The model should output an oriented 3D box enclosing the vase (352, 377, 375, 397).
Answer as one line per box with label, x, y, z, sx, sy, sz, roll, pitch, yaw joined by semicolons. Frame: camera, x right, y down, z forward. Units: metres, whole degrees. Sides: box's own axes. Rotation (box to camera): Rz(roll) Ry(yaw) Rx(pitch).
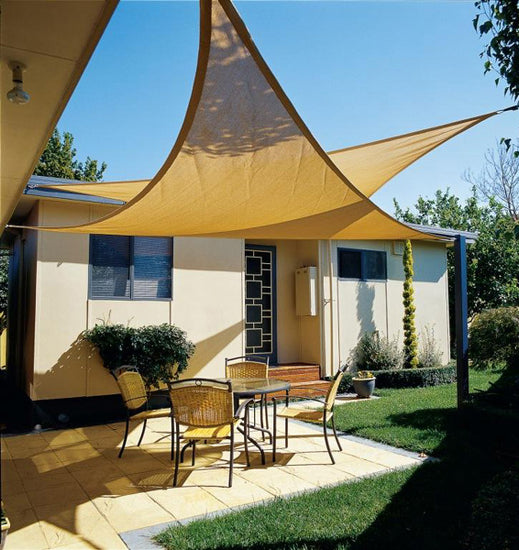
vase;2.081;2.221;10.103;0.400;0.312;0.422;0;-7;-7
